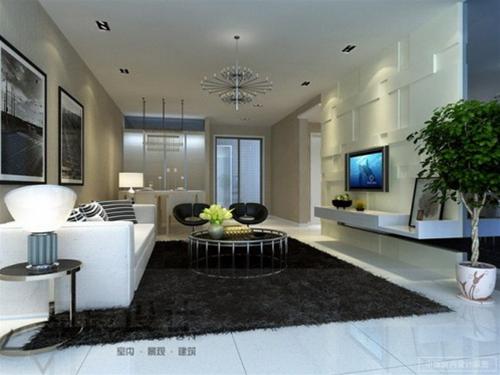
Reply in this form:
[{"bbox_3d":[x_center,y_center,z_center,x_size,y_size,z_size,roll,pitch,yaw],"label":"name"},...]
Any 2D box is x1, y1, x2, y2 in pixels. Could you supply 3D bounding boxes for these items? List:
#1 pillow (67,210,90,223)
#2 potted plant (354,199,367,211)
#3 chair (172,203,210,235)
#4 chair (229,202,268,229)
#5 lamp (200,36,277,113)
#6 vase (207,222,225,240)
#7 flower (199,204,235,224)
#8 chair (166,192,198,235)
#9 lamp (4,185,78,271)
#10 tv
[{"bbox_3d":[-1.947,0.325,3.888,0.061,0.191,0.183,-42,-17,15],"label":"pillow"},{"bbox_3d":[1.887,0.299,5.863,0.168,0.204,0.199,1,-2,45],"label":"potted plant"},{"bbox_3d":[-1.089,0.495,6.326,0.678,0.639,0.639,-1,-1,-23],"label":"chair"},{"bbox_3d":[-0.023,0.488,6.517,0.552,0.531,0.490,0,-9,-9],"label":"chair"},{"bbox_3d":[-0.351,-2.120,6.548,1.083,1.332,1.105,2,3,34],"label":"lamp"},{"bbox_3d":[-0.448,0.569,4.562,0.202,0.215,0.205,4,3,25],"label":"vase"},{"bbox_3d":[-0.451,0.364,4.761,0.359,0.190,0.354,2,-5,-2],"label":"flower"},{"bbox_3d":[-1.581,0.544,7.854,0.868,1.233,0.861,0,1,-9],"label":"chair"},{"bbox_3d":[-1.786,0.339,3.196,0.686,0.721,0.678,1,-3,1],"label":"lamp"},{"bbox_3d":[1.976,-0.314,5.714,0.088,0.601,0.841,1,-1,-18],"label":"tv"}]
